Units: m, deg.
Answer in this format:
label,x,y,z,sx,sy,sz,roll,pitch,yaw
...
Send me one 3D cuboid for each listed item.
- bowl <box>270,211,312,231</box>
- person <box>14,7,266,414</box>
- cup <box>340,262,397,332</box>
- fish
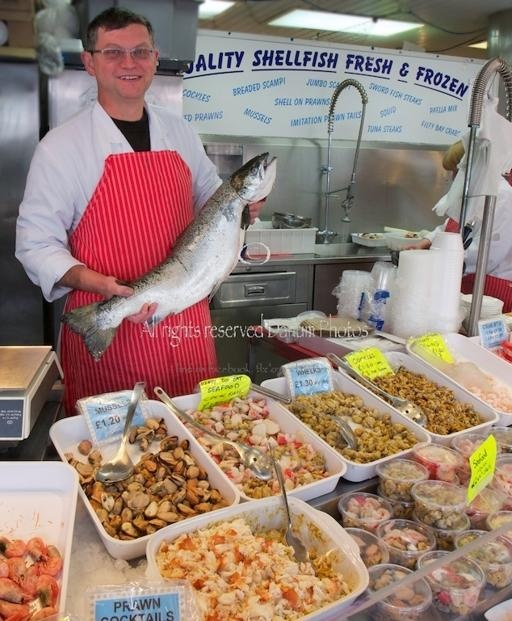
label,x,y,z,sx,sy,sz,roll,pitch,yaw
bowl,0.287,-0.771,4.070,0.264,0.111,0.207,17,19,25
person,-0.455,-0.218,1.807,0.706,1.428,0.664,-13,30,-32
cup,0.449,-0.071,2.061,0.266,0.261,0.150,-13,25,-29
fish,-0.190,-0.135,1.453,0.933,0.242,0.321,-39,19,-6
